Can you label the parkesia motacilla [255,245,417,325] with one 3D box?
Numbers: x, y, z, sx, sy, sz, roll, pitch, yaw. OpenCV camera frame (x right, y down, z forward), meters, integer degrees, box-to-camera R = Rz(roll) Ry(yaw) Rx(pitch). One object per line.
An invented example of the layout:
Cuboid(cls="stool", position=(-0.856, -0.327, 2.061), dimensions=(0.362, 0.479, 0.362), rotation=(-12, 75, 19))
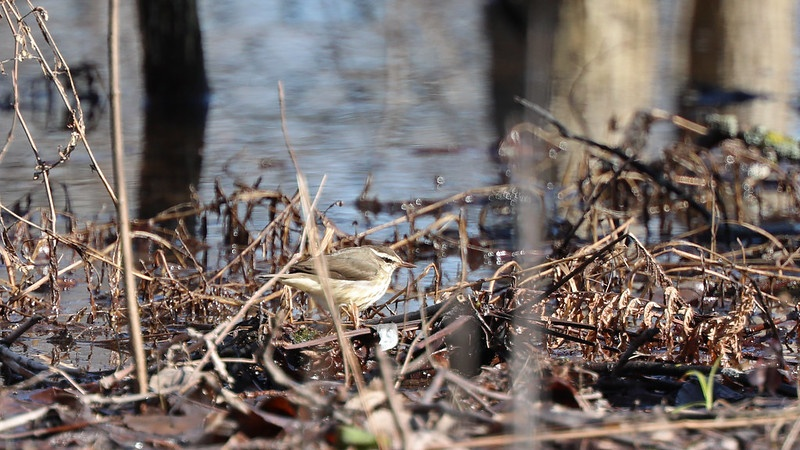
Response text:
Cuboid(cls="parkesia motacilla", position=(-0.546, 0.509, 9.527), dimensions=(0.803, 0.648, 1.093), rotation=(6, 21, 25))
